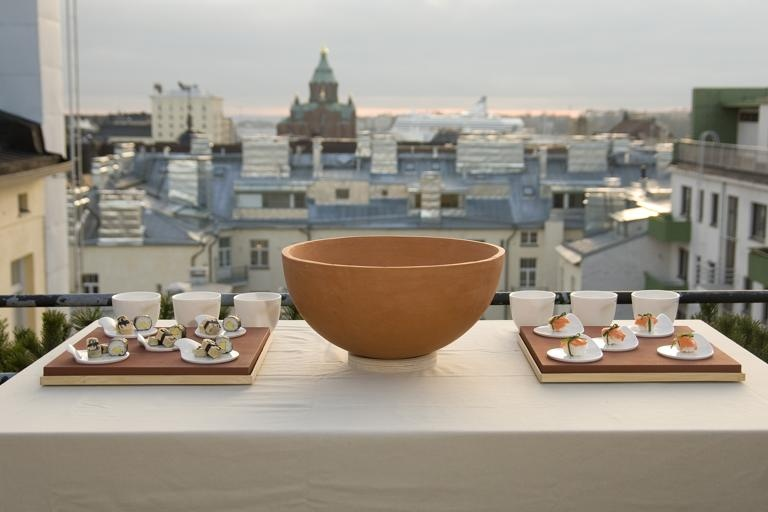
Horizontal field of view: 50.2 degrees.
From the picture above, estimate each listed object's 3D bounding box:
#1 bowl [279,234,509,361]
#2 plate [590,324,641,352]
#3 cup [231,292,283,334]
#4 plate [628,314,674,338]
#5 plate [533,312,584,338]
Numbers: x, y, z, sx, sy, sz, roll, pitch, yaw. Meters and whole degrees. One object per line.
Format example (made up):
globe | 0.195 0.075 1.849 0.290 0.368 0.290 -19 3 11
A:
bowl | 0.008 0.085 1.455 0.398 0.192 0.408 0 9 0
plate | 0.392 0.127 1.385 0.052 0.014 0.053 -7 17 -20
cup | -0.225 0.100 1.469 0.088 0.070 0.079 0 0 1
plate | 0.483 0.119 1.439 0.051 0.019 0.049 0 7 7
plate | 0.311 0.125 1.423 0.049 0.023 0.056 -2 7 -2
